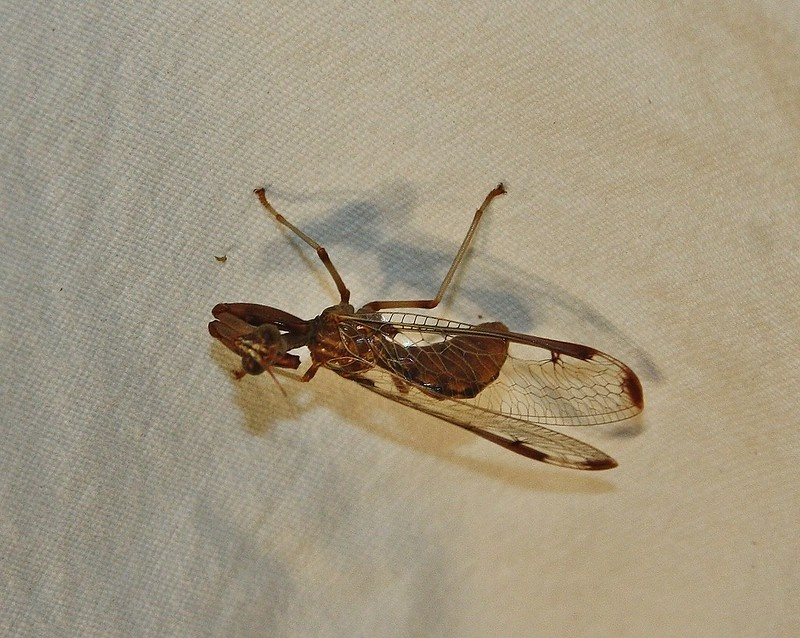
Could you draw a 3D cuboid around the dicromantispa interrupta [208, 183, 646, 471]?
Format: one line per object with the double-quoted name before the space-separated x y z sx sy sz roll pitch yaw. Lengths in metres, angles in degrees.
"dicromantispa interrupta" -0.017 0.145 2.988 1.217 0.425 0.731 15 -52 9
